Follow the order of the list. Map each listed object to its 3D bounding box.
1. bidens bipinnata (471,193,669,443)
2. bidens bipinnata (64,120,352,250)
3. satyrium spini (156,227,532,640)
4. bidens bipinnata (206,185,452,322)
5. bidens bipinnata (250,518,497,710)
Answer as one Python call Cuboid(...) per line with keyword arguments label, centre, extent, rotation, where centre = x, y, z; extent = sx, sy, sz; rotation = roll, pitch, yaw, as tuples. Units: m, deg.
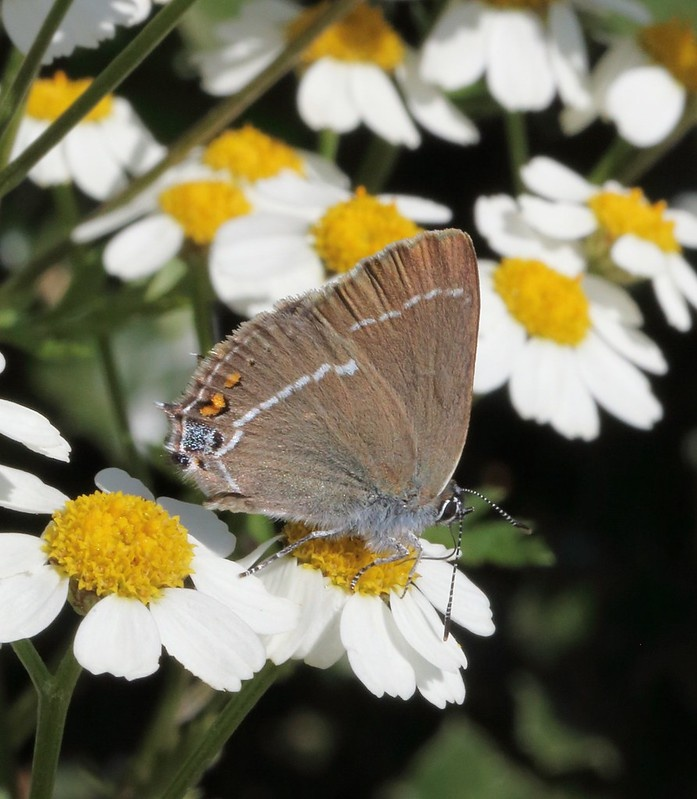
Cuboid(label="bidens bipinnata", centre=(0.170, -0.067, 0.915), extent=(0.229, 0.057, 0.228), rotation=(-31, 88, -22))
Cuboid(label="bidens bipinnata", centre=(-0.114, -0.166, 0.790), extent=(0.168, 0.162, 0.044), rotation=(-1, 97, -27))
Cuboid(label="satyrium spini", centre=(-0.028, 0.038, 0.808), extent=(0.334, 0.363, 0.265), rotation=(8, 63, -19))
Cuboid(label="bidens bipinnata", centre=(-0.009, -0.122, 0.790), extent=(0.256, 0.011, 0.117), rotation=(-12, 83, -32))
Cuboid(label="bidens bipinnata", centre=(0.002, 0.168, 0.651), extent=(0.156, 0.046, 0.146), rotation=(21, 29, 5))
